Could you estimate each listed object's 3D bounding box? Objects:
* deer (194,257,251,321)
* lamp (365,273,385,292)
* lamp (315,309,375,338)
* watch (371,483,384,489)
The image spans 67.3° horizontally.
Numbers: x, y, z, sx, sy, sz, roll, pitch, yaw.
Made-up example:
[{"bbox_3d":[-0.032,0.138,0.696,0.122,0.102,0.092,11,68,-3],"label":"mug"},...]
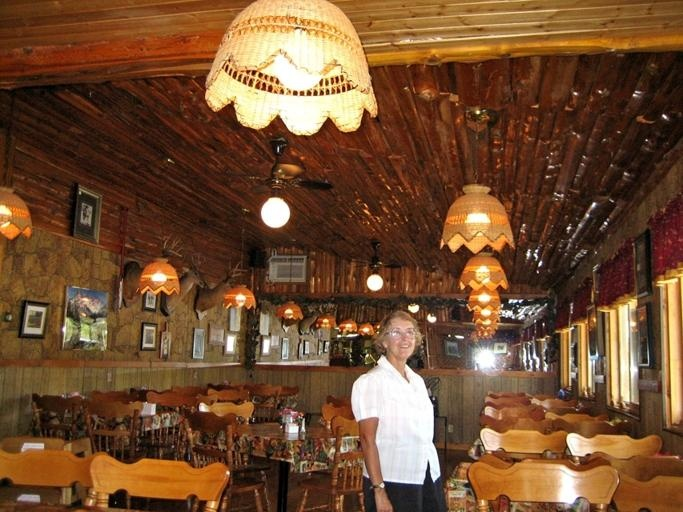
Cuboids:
[{"bbox_3d":[-2.578,0.686,10.775,1.627,0.727,0.726,-45,-50,16],"label":"deer"},{"bbox_3d":[0.662,0.576,10.919,0.440,0.575,0.439,-2,-8,16],"label":"lamp"},{"bbox_3d":[0.112,1.865,14.344,1.694,0.478,0.546,13,-28,-24],"label":"lamp"},{"bbox_3d":[0.209,1.278,2.851,0.045,0.025,0.036,-26,-34,22],"label":"watch"}]
